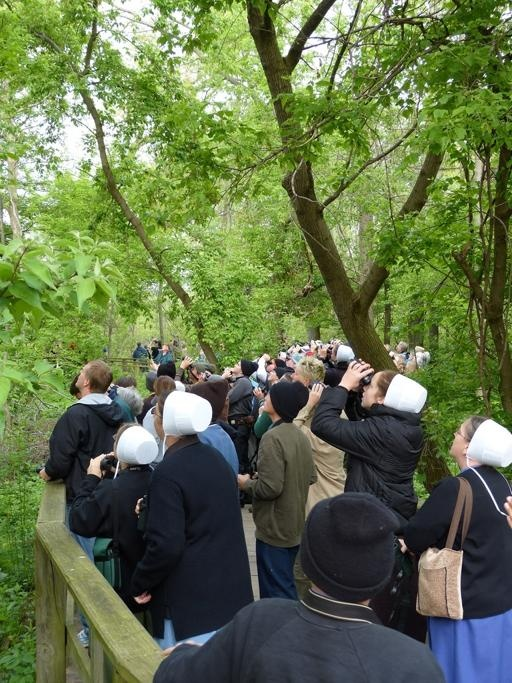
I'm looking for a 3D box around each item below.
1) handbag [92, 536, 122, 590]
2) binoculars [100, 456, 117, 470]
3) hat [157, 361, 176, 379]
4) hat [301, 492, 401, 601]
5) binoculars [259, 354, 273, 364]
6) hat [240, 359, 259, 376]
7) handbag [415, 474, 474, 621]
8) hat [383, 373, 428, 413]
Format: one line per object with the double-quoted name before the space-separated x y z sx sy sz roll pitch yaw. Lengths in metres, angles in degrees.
"handbag" -0.777 1.165 2.903 0.185 0.244 0.141 -22 -21 39
"binoculars" -0.817 0.671 3.068 0.080 0.073 0.052 3 -5 21
"hat" -1.036 0.314 6.479 0.241 0.276 0.298 1 8 -7
"hat" 0.181 0.454 1.269 0.227 0.207 0.233 1 3 4
"binoculars" 0.141 0.295 9.572 0.147 0.177 0.081 -7 -24 13
"hat" -0.134 0.365 7.786 0.191 0.192 0.241 6 31 -36
"handbag" 0.867 0.976 2.588 0.304 0.590 0.172 -5 -2 26
"hat" 0.876 0.314 3.284 0.241 0.200 0.226 15 -11 37
